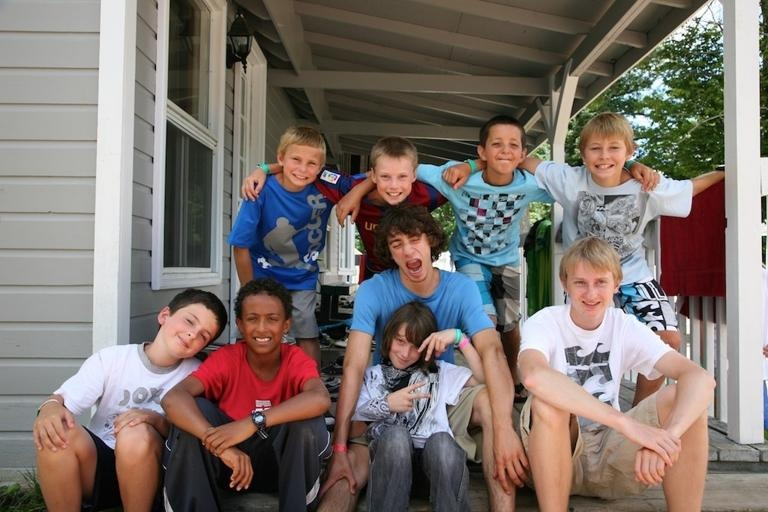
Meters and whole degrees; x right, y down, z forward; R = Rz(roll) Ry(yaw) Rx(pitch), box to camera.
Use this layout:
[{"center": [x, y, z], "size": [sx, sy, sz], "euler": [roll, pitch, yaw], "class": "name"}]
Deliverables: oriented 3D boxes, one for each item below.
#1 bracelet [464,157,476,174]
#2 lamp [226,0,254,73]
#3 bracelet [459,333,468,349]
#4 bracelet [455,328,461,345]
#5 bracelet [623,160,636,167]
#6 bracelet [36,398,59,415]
[{"center": [0.649, -0.660, 4.521], "size": [0.070, 0.112, 0.101], "euler": [-6, 25, -16], "class": "bracelet"}, {"center": [-1.297, -1.927, 5.527], "size": [0.223, 0.477, 0.373], "euler": [-1, -4, -14], "class": "lamp"}, {"center": [0.487, 0.518, 3.796], "size": [0.020, 0.073, 0.071], "euler": [29, -28, -5], "class": "bracelet"}, {"center": [0.452, 0.493, 3.756], "size": [0.026, 0.074, 0.062], "euler": [6, -5, 9], "class": "bracelet"}, {"center": [1.623, -0.615, 4.092], "size": [0.024, 0.044, 0.034], "euler": [10, 24, -34], "class": "bracelet"}, {"center": [-1.860, 0.815, 3.385], "size": [0.096, 0.080, 0.201], "euler": [2, -5, -43], "class": "bracelet"}]
